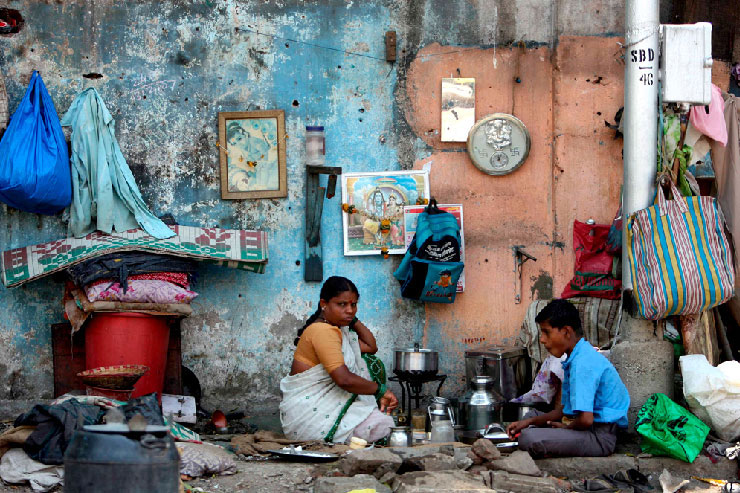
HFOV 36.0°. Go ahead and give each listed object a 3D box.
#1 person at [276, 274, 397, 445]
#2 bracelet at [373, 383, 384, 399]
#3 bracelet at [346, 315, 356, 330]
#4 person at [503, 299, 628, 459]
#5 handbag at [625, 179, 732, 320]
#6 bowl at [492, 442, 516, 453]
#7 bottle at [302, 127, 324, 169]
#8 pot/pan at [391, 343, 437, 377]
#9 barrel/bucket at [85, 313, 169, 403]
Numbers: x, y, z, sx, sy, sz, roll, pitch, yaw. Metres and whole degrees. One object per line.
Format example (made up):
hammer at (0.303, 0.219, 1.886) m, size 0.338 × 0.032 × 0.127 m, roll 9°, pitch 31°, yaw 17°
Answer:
person at (-0.334, 1.067, 10.541) m, size 1.038 × 1.517 × 0.726 m, roll -1°, pitch -5°, yaw -8°
bracelet at (0.079, 1.346, 10.434) m, size 0.101 × 0.144 × 0.262 m, roll -2°, pitch -6°, yaw 0°
bracelet at (-0.175, 0.743, 10.952) m, size 0.048 × 0.122 × 0.101 m, roll 29°, pitch 30°, yaw 7°
person at (1.760, 1.207, 10.280) m, size 1.019 × 1.400 × 0.415 m, roll -3°, pitch -5°, yaw 11°
handbag at (2.836, 0.062, 10.692) m, size 1.118 × 1.254 × 0.413 m, roll -12°, pitch -5°, yaw -7°
bowl at (1.204, 1.826, 10.239) m, size 0.269 × 0.072 × 0.065 m, roll 2°, pitch -2°, yaw -6°
bottle at (-0.551, -0.989, 11.541) m, size 0.253 × 0.386 × 0.249 m, roll 1°, pitch 3°, yaw 0°
pot/pan at (0.431, 1.122, 11.189) m, size 0.460 × 0.275 × 0.469 m, roll 2°, pitch -1°, yaw -2°
barrel/bucket at (-2.299, 1.080, 11.048) m, size 0.747 × 0.780 × 0.793 m, roll 1°, pitch -7°, yaw 0°
